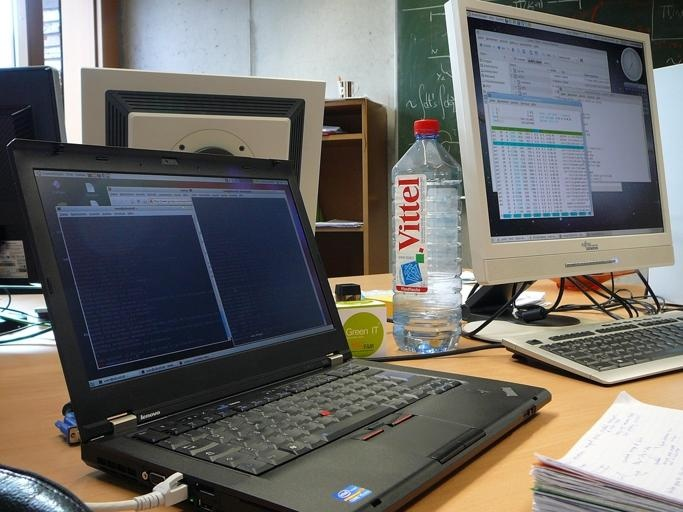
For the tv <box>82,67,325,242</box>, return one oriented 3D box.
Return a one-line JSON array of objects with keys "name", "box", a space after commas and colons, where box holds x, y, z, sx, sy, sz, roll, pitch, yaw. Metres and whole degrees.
[{"name": "tv", "box": [-0.246, -0.186, 0.894, 0.464, 0.349, 0.047, -1, 7, -24]}]
